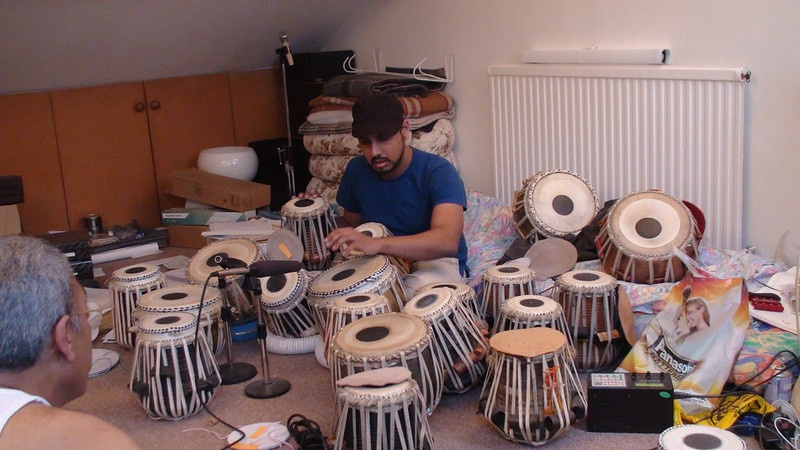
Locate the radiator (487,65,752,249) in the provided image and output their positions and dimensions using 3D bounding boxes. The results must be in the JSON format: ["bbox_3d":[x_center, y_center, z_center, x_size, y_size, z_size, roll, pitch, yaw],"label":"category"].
[{"bbox_3d":[1.584,-0.463,3.765,1.469,0.992,0.109,8,20,37],"label":"radiator"}]

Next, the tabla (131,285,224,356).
[{"bbox_3d":[-1.237,0.458,3.117,0.439,0.316,0.431,9,12,26],"label":"tabla"}]

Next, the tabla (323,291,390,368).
[{"bbox_3d":[-0.264,0.492,2.867,0.381,0.325,0.368,-9,9,-15],"label":"tabla"}]

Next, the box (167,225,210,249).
[{"bbox_3d":[-2.034,0.114,5.197,0.405,0.195,0.264,5,8,28],"label":"box"}]

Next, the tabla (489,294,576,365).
[{"bbox_3d":[0.690,0.496,2.834,0.336,0.287,0.339,4,11,43],"label":"tabla"}]

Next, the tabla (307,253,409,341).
[{"bbox_3d":[-0.238,0.312,3.170,0.497,0.455,0.479,-17,15,5],"label":"tabla"}]

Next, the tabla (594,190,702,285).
[{"bbox_3d":[1.529,0.075,3.333,0.585,0.329,0.584,30,61,33],"label":"tabla"}]

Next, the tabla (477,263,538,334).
[{"bbox_3d":[0.594,0.361,3.113,0.364,0.323,0.359,-14,19,-35],"label":"tabla"}]

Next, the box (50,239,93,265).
[{"bbox_3d":[-2.173,0.176,3.597,0.193,0.120,0.197,-8,15,-34],"label":"box"}]

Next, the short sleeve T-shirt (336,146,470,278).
[{"bbox_3d":[0.010,-0.058,3.385,0.893,0.848,0.457,2,35,23],"label":"short sleeve T-shirt"}]

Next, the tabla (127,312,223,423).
[{"bbox_3d":[-1.162,0.733,3.037,0.525,0.490,0.534,-1,4,23],"label":"tabla"}]

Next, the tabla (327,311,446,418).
[{"bbox_3d":[-0.090,0.569,2.640,0.501,0.386,0.503,14,28,41],"label":"tabla"}]

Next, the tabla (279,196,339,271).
[{"bbox_3d":[-0.556,0.025,3.685,0.459,0.498,0.433,-10,7,-8],"label":"tabla"}]

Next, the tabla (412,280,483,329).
[{"bbox_3d":[0.294,0.449,3.064,0.298,0.261,0.291,-19,17,-32],"label":"tabla"}]

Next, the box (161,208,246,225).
[{"bbox_3d":[-1.863,-0.078,5.175,0.856,0.144,0.257,3,16,25],"label":"box"}]

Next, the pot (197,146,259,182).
[{"bbox_3d":[-1.718,-0.587,5.559,0.443,0.290,0.428,-1,7,0],"label":"pot"}]
